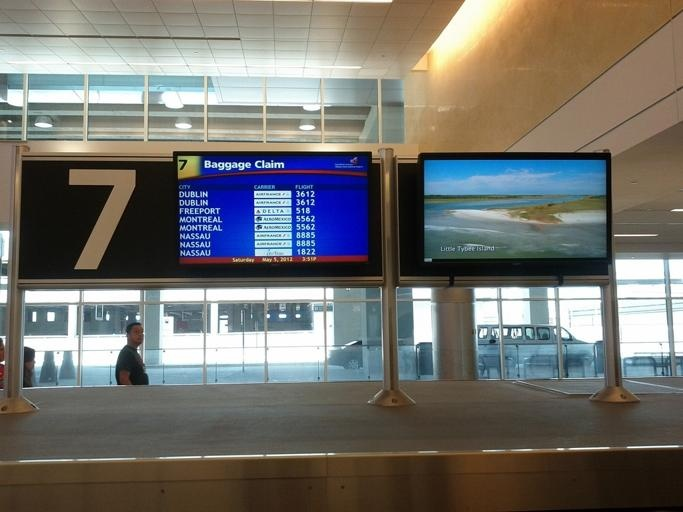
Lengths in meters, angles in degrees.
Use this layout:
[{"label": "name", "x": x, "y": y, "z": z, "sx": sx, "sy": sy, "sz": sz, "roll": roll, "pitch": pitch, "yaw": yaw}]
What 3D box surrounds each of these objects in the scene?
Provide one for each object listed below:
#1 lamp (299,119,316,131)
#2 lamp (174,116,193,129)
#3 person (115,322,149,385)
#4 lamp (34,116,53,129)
[{"label": "lamp", "x": -0.876, "y": -3.534, "z": 17.641, "sx": 0.354, "sy": 0.140, "sz": 0.318, "roll": -1, "pitch": -3, "yaw": -19}, {"label": "lamp", "x": -4.146, "y": -3.518, "z": 17.322, "sx": 0.383, "sy": 0.194, "sz": 0.364, "roll": -2, "pitch": 1, "yaw": -36}, {"label": "person", "x": -2.632, "y": 1.234, "z": 8.301, "sx": 0.367, "sy": 0.770, "sz": 0.687, "roll": 1, "pitch": -8, "yaw": -17}, {"label": "lamp", "x": -7.676, "y": -3.456, "z": 16.962, "sx": 0.397, "sy": 0.177, "sz": 0.391, "roll": 5, "pitch": 5, "yaw": 39}]
